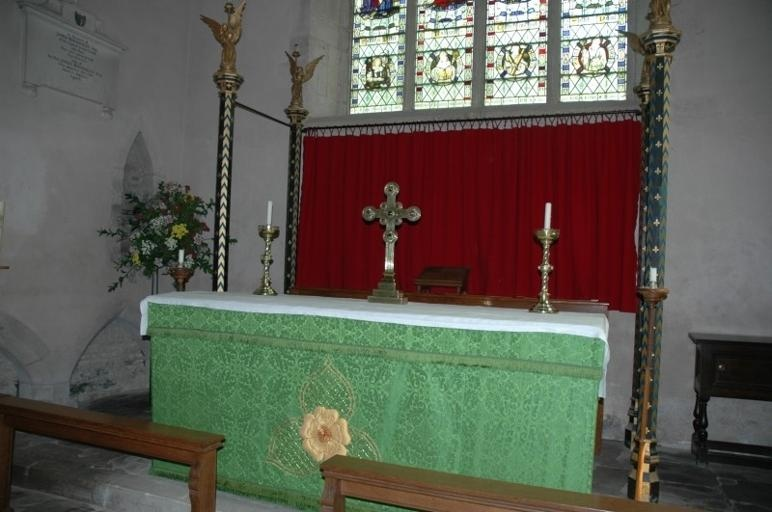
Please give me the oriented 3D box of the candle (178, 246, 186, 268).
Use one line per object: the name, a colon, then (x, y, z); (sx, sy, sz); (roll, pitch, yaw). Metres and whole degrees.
candle: (-2.241, 0.026, 7.319); (0.056, 0.210, 0.435); (2, -1, -19)
